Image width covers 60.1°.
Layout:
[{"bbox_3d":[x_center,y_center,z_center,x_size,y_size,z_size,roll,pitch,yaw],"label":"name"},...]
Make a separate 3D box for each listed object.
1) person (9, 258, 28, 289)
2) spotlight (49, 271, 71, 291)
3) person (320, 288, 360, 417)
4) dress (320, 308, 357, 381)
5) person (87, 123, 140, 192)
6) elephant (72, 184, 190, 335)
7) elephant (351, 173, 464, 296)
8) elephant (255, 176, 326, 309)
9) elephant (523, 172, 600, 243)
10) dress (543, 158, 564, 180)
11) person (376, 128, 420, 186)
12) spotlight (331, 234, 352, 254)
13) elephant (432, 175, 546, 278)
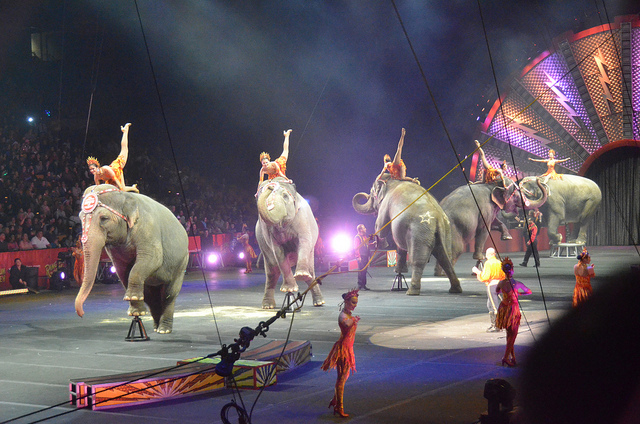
[{"bbox_3d":[-9.301,1.861,17.089,0.466,0.968,0.421,6,-3,-5],"label":"person"},{"bbox_3d":[-8.621,2.218,18.352,0.684,0.573,0.641,-3,19,-33],"label":"spotlight"},{"bbox_3d":[0.232,1.523,6.324,0.389,0.992,0.880,5,-3,5],"label":"person"},{"bbox_3d":[0.231,1.496,6.252,0.367,0.581,0.456,5,-3,5],"label":"dress"},{"bbox_3d":[-4.017,-1.002,10.738,0.534,1.340,1.504,7,21,7],"label":"person"},{"bbox_3d":[-3.476,0.927,10.439,1.469,2.461,3.040,-8,-18,12],"label":"elephant"},{"bbox_3d":[2.707,0.534,15.979,1.795,3.503,3.322,6,-3,-9],"label":"elephant"},{"bbox_3d":[-0.781,0.685,13.355,1.671,2.784,3.518,-9,-22,-1],"label":"elephant"},{"bbox_3d":[11.686,-0.194,27.915,4.539,3.334,1.962,2,1,10],"label":"elephant"},{"bbox_3d":[11.394,-2.108,27.128,1.172,1.104,0.895,-2,5,9],"label":"dress"},{"bbox_3d":[2.419,-1.673,16.697,1.321,0.581,1.782,-29,-31,-21],"label":"person"},{"bbox_3d":[1.046,1.506,24.968,0.835,0.929,0.809,-19,17,-28],"label":"spotlight"},{"bbox_3d":[5.330,0.302,17.856,4.624,2.659,1.666,-13,12,-12],"label":"elephant"}]
